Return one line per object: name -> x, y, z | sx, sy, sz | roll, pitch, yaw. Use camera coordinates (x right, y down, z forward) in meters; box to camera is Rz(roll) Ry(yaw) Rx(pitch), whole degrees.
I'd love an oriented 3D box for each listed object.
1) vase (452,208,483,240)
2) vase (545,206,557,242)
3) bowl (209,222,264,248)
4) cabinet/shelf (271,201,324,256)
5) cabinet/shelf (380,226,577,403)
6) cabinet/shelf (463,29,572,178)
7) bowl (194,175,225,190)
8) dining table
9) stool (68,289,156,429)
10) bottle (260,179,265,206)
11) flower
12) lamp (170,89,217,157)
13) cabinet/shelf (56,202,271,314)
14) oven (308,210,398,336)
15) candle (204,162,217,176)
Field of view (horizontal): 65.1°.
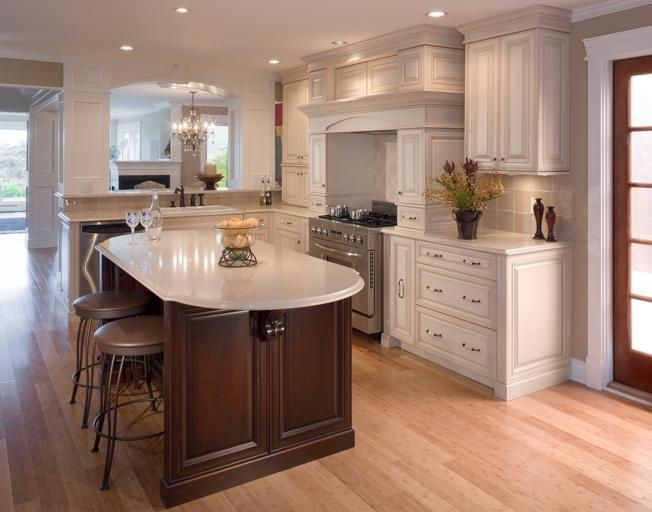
vase -> 1.148, -0.261, 4.250 | 0.261, 0.231, 0.232 | 7, 14, 41
vase -> 1.804, -0.259, 4.087 | 0.100, 0.264, 0.249 | 6, 13, 24
bowl -> -0.585, -0.116, 3.264 | 0.289, 0.125, 0.262 | -1, 3, -23
cabinet/shelf -> -0.320, -0.246, 6.283 | 0.650, 0.603, 0.245 | 17, 28, 34
cabinet/shelf -> 1.287, 0.379, 4.538 | 0.933, 1.121, 1.489 | -6, 11, -24
cabinet/shelf -> 1.583, -1.264, 4.242 | 0.405, 1.113, 0.815 | -12, 17, -25
bowl -> -1.615, -1.037, 7.140 | 0.308, 0.171, 0.311 | 0, -1, 0
dining table -> -0.574, 0.646, 3.135 | 1.539, 1.139, 1.205 | 11, 16, 40
stool -> -1.509, 0.698, 3.635 | 0.586, 0.803, 0.563 | 2, 4, -16
bottle -> -0.860, -0.875, 6.937 | 0.074, 0.357, 0.144 | -1, 12, -7
flower -> 1.133, -0.556, 4.293 | 0.516, 0.587, 0.571 | -2, 2, 4
lamp -> -2.708, -2.701, 10.420 | 0.798, 1.147, 0.790 | -7, 26, -24
cabinet/shelf -> -1.747, 0.132, 5.863 | 2.467, 0.846, 1.586 | -3, 24, -11
oven -> 0.395, 0.111, 5.460 | 0.777, 1.122, 1.176 | -5, 11, -26
candle -> -1.655, -1.227, 7.288 | 0.225, 0.217, 0.204 | -1, 5, -19
